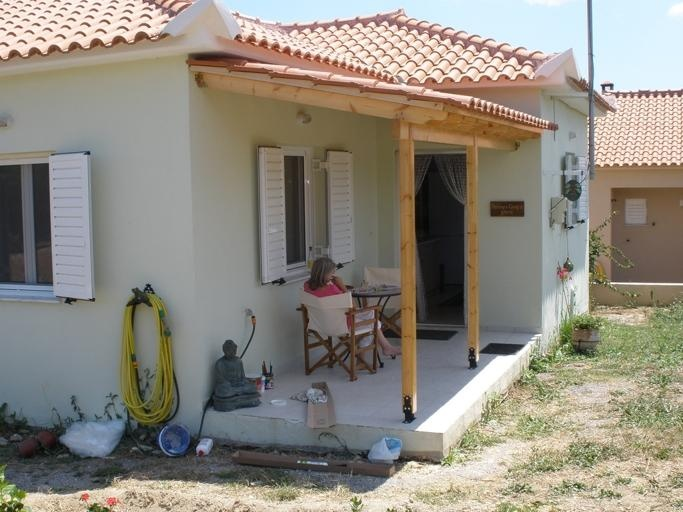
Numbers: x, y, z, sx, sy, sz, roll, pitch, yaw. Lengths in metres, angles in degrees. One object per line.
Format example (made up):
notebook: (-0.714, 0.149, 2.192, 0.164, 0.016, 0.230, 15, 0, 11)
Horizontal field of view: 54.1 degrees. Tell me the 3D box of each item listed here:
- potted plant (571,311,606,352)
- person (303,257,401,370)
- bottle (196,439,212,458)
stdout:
potted plant: (4.077, 1.242, 11.043, 0.488, 0.713, 0.577, -1, -3, 27)
person: (0.048, 0.646, 8.910, 0.579, 1.647, 1.397, 14, 24, 34)
bottle: (-1.437, 2.014, 7.055, 0.146, 0.150, 0.253, 8, 16, 1)
